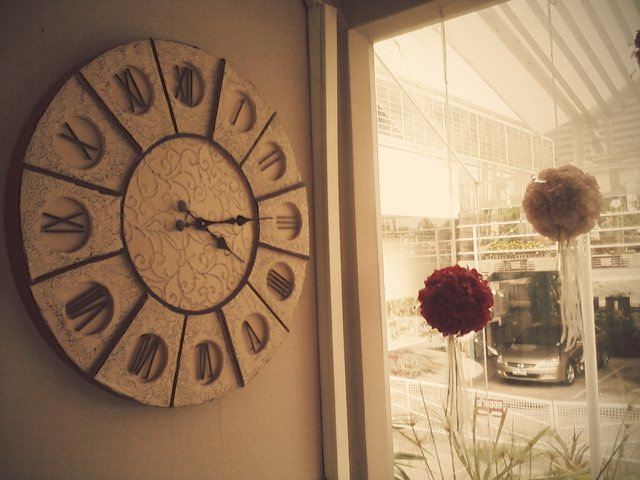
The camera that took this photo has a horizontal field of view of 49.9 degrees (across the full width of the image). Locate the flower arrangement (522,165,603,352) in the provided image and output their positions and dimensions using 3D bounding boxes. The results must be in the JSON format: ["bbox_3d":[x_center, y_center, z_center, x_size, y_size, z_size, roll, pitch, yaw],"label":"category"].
[{"bbox_3d":[1.063,0.081,2.990,0.322,0.796,0.097,-3,0,23],"label":"flower arrangement"}]

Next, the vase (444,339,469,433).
[{"bbox_3d":[0.640,0.680,3.226,0.088,0.431,0.054,-3,0,11],"label":"vase"}]
